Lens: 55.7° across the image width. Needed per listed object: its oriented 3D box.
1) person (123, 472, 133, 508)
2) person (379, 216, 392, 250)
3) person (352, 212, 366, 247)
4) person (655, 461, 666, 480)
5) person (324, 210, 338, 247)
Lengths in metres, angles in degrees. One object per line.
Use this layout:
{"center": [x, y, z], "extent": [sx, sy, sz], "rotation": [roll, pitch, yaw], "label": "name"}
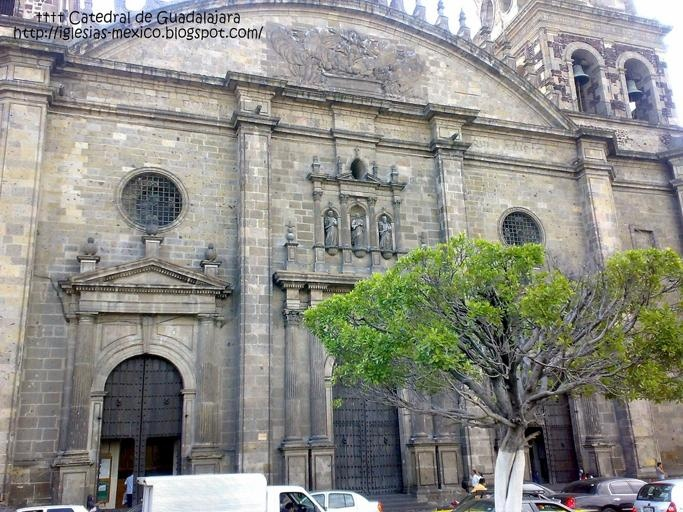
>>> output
{"center": [-7.834, 8.701, 24.013], "extent": [0.282, 1.139, 0.609], "rotation": [4, -18, -17], "label": "person"}
{"center": [2.006, -1.008, 29.011], "extent": [0.628, 1.744, 0.315], "rotation": [-2, -17, 2], "label": "person"}
{"center": [0.784, -1.084, 28.665], "extent": [0.653, 1.731, 0.282], "rotation": [1, -18, -8], "label": "person"}
{"center": [14.394, 9.625, 29.151], "extent": [0.399, 0.715, 3.362], "rotation": [-9, -18, 23], "label": "person"}
{"center": [-0.438, -1.169, 28.238], "extent": [0.591, 1.760, 0.310], "rotation": [-1, -17, -2], "label": "person"}
